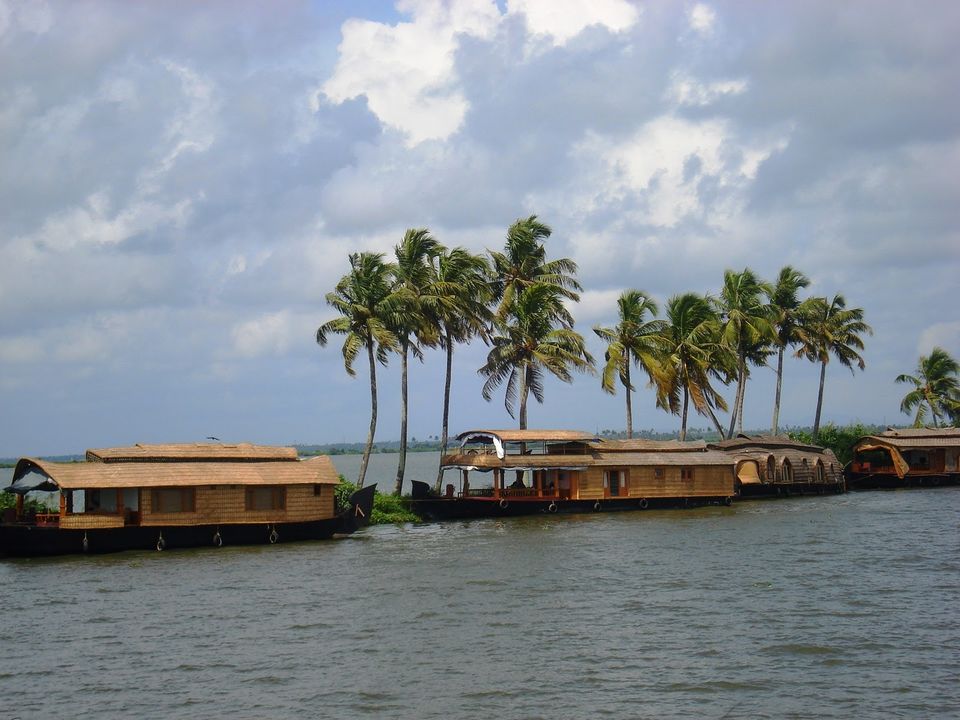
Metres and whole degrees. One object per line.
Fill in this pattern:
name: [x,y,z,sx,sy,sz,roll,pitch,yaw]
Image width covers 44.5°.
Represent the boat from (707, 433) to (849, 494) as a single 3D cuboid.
boat: [19.589,7.081,75.651,4.347,2.435,7.296,-5,-8,43]
